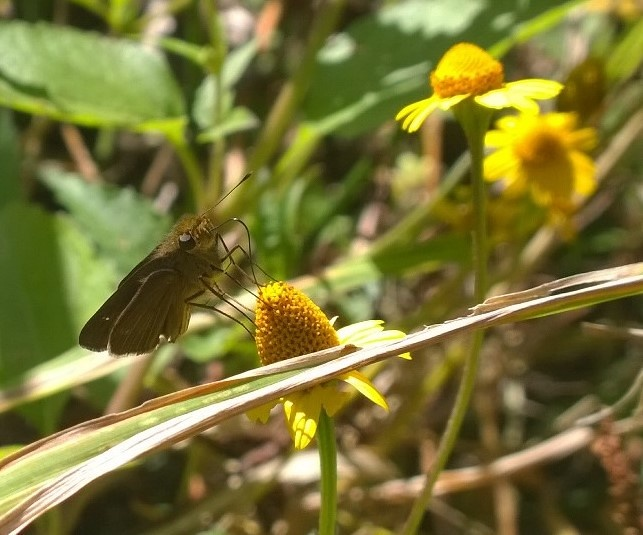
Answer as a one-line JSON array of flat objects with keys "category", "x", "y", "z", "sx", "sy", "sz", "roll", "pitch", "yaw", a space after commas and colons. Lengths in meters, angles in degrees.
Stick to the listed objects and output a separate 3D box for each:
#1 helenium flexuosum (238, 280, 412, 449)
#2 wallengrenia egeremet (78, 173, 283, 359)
[{"category": "helenium flexuosum", "x": -0.024, "y": 0.139, "z": 1.306, "sx": 0.332, "sy": 0.209, "sz": 0.358, "roll": -1, "pitch": 17, "yaw": 33}, {"category": "wallengrenia egeremet", "x": -0.327, "y": 0.052, "z": 1.530, "sx": 0.425, "sy": 0.288, "sz": 0.411, "roll": -20, "pitch": -1, "yaw": 10}]
